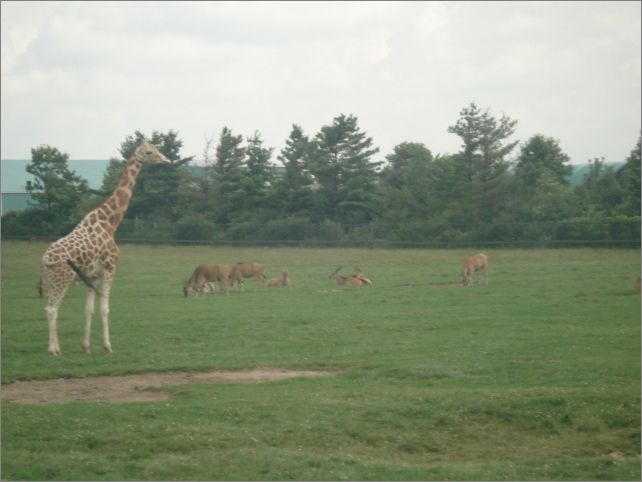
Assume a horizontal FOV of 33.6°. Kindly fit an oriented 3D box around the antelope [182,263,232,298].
[{"bbox_3d":[-5.103,1.716,46.860,1.764,1.415,2.657,-1,-2,8],"label":"antelope"}]
